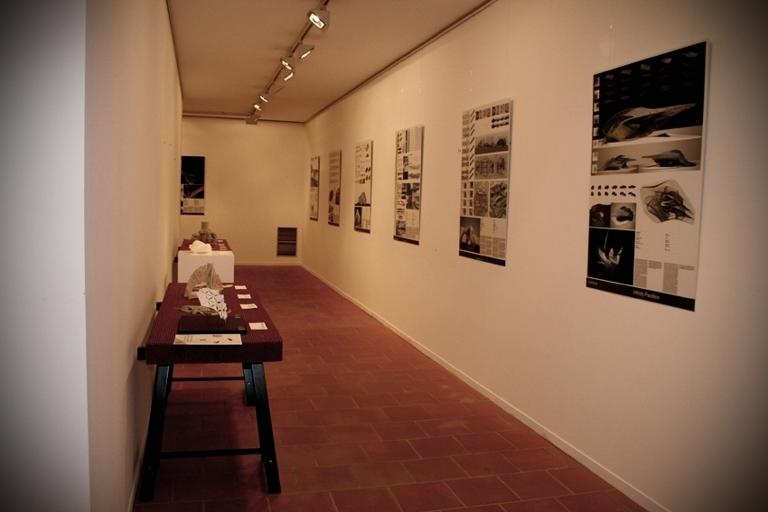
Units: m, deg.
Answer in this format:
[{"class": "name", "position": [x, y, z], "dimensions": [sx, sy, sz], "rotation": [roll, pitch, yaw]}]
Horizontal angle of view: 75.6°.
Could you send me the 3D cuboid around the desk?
[{"class": "desk", "position": [-1.354, 0.963, 3.785], "dimensions": [0.934, 1.110, 1.630], "rotation": [0, 8, -25]}]
